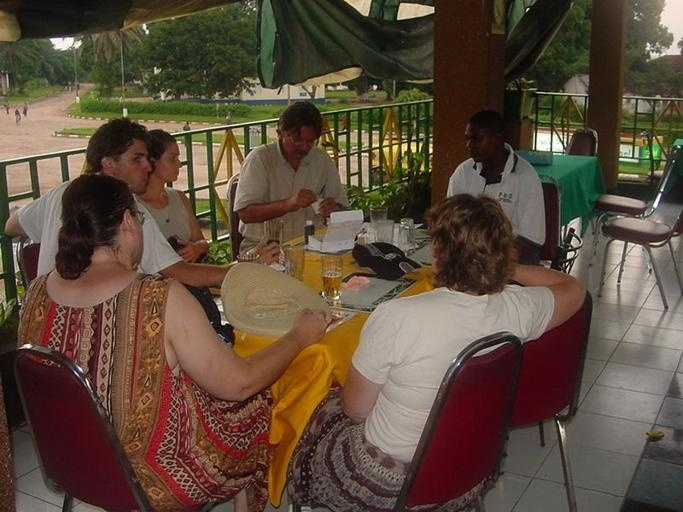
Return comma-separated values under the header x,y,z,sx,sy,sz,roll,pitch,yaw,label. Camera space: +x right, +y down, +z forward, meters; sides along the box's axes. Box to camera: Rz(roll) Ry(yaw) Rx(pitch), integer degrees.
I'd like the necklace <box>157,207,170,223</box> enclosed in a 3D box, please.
x,y,z,sx,sy,sz,roll,pitch,yaw,label
-0.946,-0.222,2.933,0.052,0.065,0.049,-1,-27,-17,necklace

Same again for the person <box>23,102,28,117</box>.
x,y,z,sx,sy,sz,roll,pitch,yaw,label
-20.362,-9.414,35.428,0.342,0.806,1.025,-7,13,-28,person

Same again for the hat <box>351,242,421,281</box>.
x,y,z,sx,sy,sz,roll,pitch,yaw,label
0.219,0.015,2.570,0.272,0.118,0.162,18,26,34,hat
